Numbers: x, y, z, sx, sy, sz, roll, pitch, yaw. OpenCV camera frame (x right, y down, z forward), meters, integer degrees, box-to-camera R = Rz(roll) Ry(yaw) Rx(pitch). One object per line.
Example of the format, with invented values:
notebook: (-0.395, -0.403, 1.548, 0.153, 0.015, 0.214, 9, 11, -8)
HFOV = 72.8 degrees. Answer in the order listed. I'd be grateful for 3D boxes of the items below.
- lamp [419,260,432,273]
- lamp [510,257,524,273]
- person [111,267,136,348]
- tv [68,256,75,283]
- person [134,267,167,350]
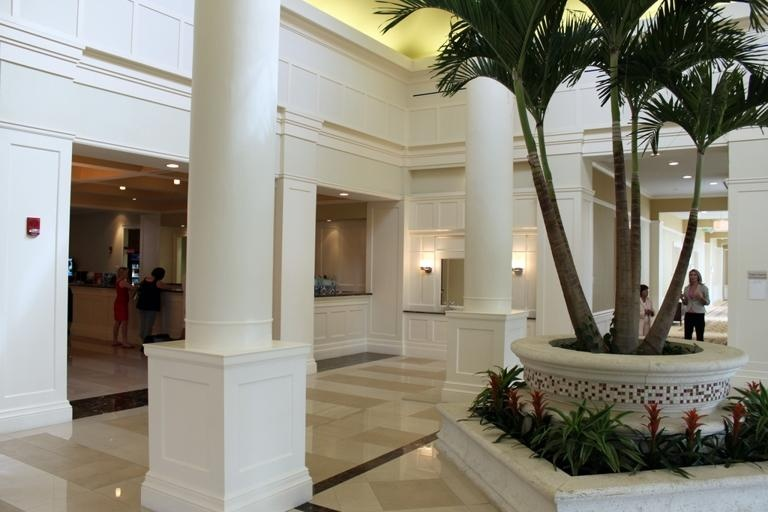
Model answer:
lamp: (0.921, 0.256, 11.674, 0.325, 0.339, 0.231, -5, -10, 34)
lamp: (2.791, 0.189, 10.842, 0.316, 0.369, 0.323, -1, 0, -5)
person: (-5.763, 1.112, 11.484, 0.407, 1.728, 0.915, 1, 2, -25)
tv: (-9.463, 0.387, 15.811, 0.154, 0.589, 1.987, 0, 2, -30)
person: (-4.969, 1.020, 11.054, 0.495, 1.489, 0.806, 1, 2, -26)
